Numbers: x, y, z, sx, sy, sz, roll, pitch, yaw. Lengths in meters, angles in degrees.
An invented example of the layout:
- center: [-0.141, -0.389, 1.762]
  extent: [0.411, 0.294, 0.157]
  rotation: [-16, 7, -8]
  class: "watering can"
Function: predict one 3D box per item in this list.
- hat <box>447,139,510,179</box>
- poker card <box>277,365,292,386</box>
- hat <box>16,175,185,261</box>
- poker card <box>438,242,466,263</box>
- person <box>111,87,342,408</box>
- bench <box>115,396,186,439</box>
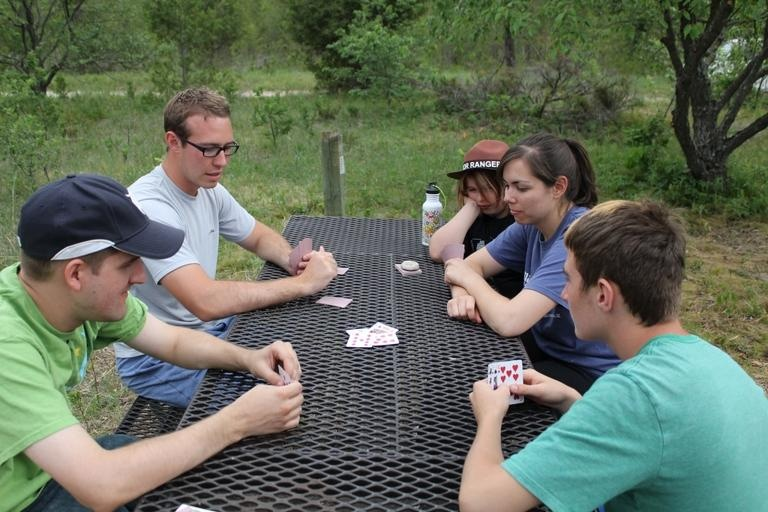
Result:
- center: [0.655, -0.677, 4.089]
  extent: [0.400, 0.172, 0.301]
  rotation: [-8, 9, 3]
  class: "hat"
- center: [-0.449, 0.538, 2.659]
  extent: [0.073, 0.010, 0.074]
  rotation: [49, -1, 20]
  class: "poker card"
- center: [-1.155, -0.134, 2.400]
  extent: [0.520, 0.284, 0.336]
  rotation: [-3, 21, -22]
  class: "hat"
- center: [0.430, -0.025, 3.628]
  extent: [0.119, 0.115, 0.093]
  rotation: [-9, 34, 10]
  class: "poker card"
- center: [-1.050, 0.189, 3.809]
  extent: [1.317, 2.327, 1.151]
  rotation: [5, 20, -2]
  class: "person"
- center: [-1.247, 0.862, 3.120]
  extent: [0.278, 0.089, 0.423]
  rotation: [7, 19, -18]
  class: "bench"
